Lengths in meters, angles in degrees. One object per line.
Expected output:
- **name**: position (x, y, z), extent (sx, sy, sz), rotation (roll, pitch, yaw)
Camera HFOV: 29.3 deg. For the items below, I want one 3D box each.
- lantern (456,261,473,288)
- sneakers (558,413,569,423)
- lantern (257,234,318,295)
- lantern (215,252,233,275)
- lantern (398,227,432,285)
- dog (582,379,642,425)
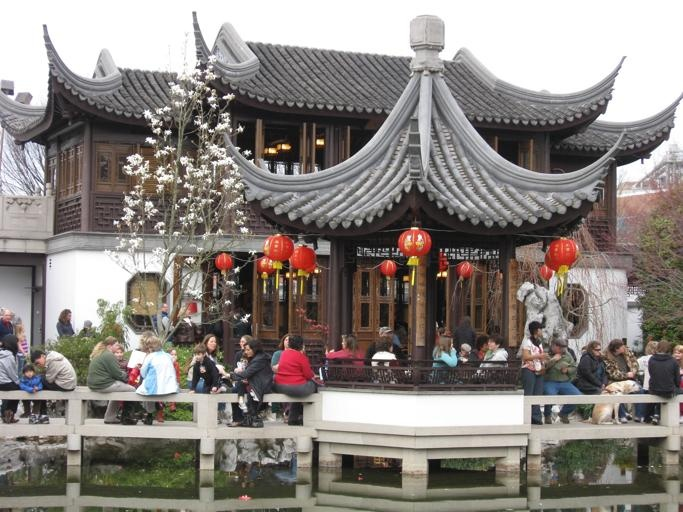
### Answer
- **lantern**: position (2.580, 0.240, 27.202), extent (0.303, 0.376, 0.619), rotation (0, -8, 3)
- **sneakers**: position (4.324, 3.134, 25.289), extent (0.174, 0.180, 0.156), rotation (-2, -1, -11)
- **lantern**: position (-1.069, 0.060, 26.201), extent (0.828, 1.027, 1.963), rotation (2, -3, -9)
- **lantern**: position (-2.683, 0.152, 30.499), extent (0.456, 0.503, 0.453), rotation (-1, -2, -26)
- **lantern**: position (1.352, -0.012, 24.059), extent (0.527, 1.107, 0.559), rotation (3, -2, -16)
- **dog**: position (5.378, 2.839, 25.597), extent (1.150, 0.740, 1.079), rotation (3, 0, -28)
